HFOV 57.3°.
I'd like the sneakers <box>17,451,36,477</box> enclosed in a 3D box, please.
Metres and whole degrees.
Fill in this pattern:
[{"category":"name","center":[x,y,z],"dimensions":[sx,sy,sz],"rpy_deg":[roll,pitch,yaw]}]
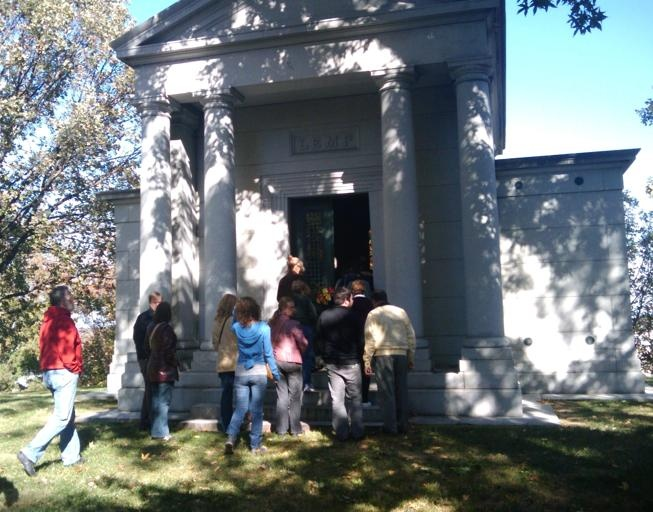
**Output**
[{"category":"sneakers","center":[-4.208,2.921,8.411],"dimensions":[0.218,0.382,0.205],"rpy_deg":[-1,3,-1]}]

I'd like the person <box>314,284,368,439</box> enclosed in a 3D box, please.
[{"category":"person","center":[0.229,1.807,10.075],"dimensions":[0.727,2.475,0.611],"rpy_deg":[-1,3,2]}]

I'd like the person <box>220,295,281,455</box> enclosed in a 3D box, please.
[{"category":"person","center":[-1.186,1.870,9.391],"dimensions":[0.836,2.414,0.460],"rpy_deg":[-1,3,-6]}]

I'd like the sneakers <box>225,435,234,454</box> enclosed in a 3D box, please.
[{"category":"sneakers","center":[-1.504,2.929,9.232],"dimensions":[0.085,0.283,0.111],"rpy_deg":[1,21,-1]}]

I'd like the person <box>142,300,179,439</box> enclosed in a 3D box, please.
[{"category":"person","center":[-2.758,1.954,10.057],"dimensions":[0.510,2.325,0.461],"rpy_deg":[-1,3,-12]}]

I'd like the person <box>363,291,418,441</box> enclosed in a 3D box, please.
[{"category":"person","center":[1.057,1.953,10.164],"dimensions":[0.861,2.154,0.487],"rpy_deg":[0,3,7]}]

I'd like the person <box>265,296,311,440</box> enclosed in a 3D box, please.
[{"category":"person","center":[-0.682,1.904,10.320],"dimensions":[0.623,2.386,0.702],"rpy_deg":[-1,0,9]}]

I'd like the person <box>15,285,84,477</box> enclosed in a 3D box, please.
[{"category":"person","center":[-3.939,1.785,8.616],"dimensions":[0.748,2.652,0.495],"rpy_deg":[-2,3,-26]}]
